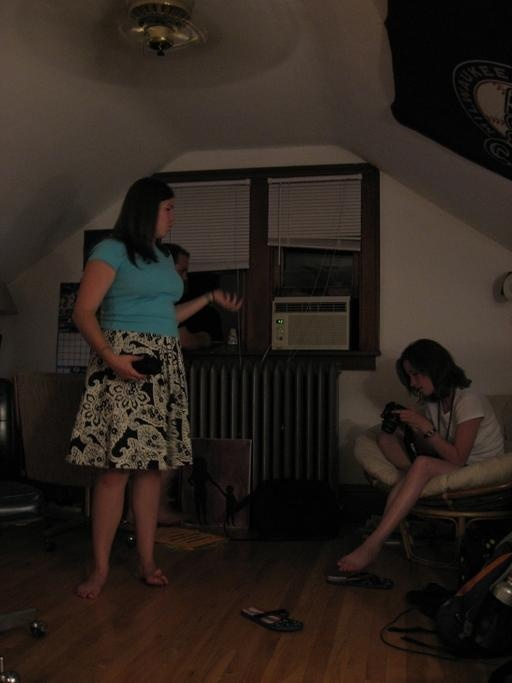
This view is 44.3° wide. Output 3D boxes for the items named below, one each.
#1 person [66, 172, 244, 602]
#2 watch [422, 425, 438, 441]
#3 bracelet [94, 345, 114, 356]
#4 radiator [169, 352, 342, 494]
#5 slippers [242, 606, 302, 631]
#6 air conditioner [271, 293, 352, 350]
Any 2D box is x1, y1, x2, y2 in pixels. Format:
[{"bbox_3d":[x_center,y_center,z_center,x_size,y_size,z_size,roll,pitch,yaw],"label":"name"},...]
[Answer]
[{"bbox_3d":[-0.361,0.138,2.100,0.479,1.371,0.436,2,-4,-4],"label":"person"},{"bbox_3d":[0.692,0.360,2.505,0.036,0.054,0.051,43,16,25],"label":"watch"},{"bbox_3d":[-0.480,0.028,1.945,0.037,0.027,0.100,4,-5,-41],"label":"bracelet"},{"bbox_3d":[0.006,0.433,3.187,0.817,0.724,0.113,0,1,6],"label":"radiator"},{"bbox_3d":[0.051,0.807,1.844,0.134,0.024,0.190,3,-4,-29],"label":"slippers"},{"bbox_3d":[0.300,-0.094,3.404,0.526,0.366,0.270,-1,-5,10],"label":"air conditioner"}]
